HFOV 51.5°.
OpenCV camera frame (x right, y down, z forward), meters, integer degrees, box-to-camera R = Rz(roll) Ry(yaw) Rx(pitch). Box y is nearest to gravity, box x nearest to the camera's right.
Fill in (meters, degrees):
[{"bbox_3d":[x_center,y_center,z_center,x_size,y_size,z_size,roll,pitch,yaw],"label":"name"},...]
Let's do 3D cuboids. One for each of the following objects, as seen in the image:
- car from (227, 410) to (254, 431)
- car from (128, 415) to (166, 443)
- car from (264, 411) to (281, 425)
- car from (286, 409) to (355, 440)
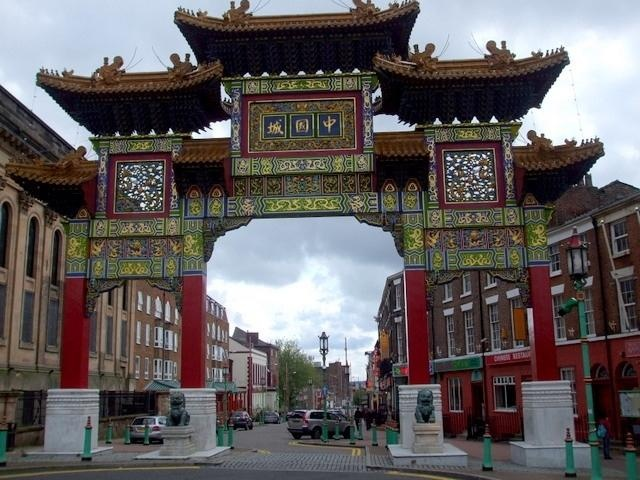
[{"bbox_3d":[-6.281,14.431,53.254,1.148,1.407,2.796,-3,-10,18],"label":"car"},{"bbox_3d":[-8.904,9.732,34.060,1.712,1.251,1.624,3,-10,-17],"label":"car"},{"bbox_3d":[-5.030,18.350,68.902,0.989,0.881,1.797,0,-5,2],"label":"car"},{"bbox_3d":[-0.069,10.938,39.599,3.474,1.655,3.971,1,-10,-10],"label":"car"}]
